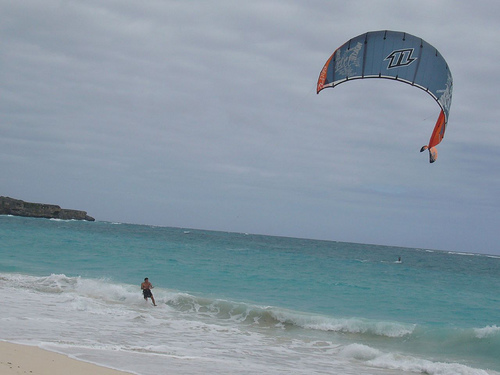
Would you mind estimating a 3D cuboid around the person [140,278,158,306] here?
[{"bbox_3d":[-6.594,6.738,41.257,1.024,1.640,1.268,4,-1,-9],"label":"person"}]
